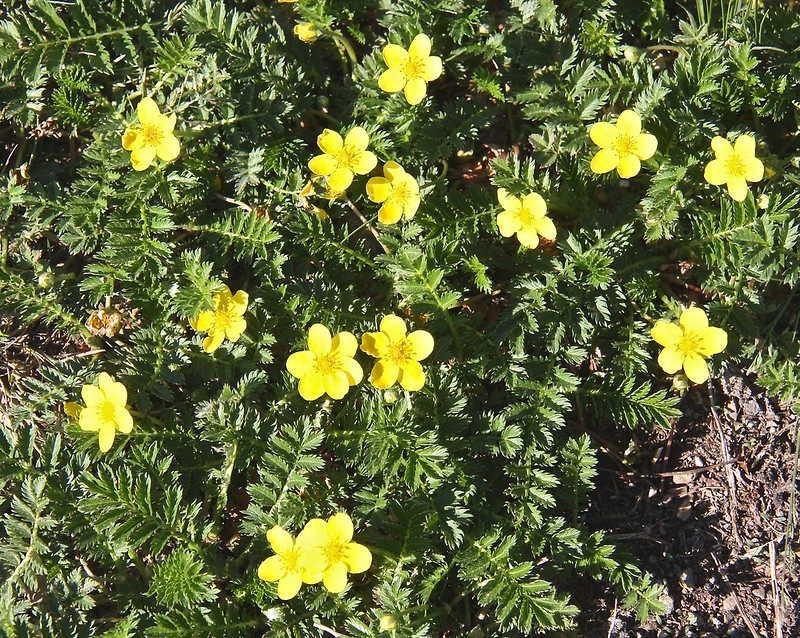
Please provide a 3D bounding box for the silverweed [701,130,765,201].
[{"bbox_3d":[1.560,-0.716,3.628,0.252,0.227,0.267,27,57,27],"label":"silverweed"}]

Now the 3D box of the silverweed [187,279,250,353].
[{"bbox_3d":[-0.844,-0.005,3.755,0.287,0.110,0.299,31,97,10],"label":"silverweed"}]

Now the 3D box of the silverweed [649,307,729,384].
[{"bbox_3d":[1.293,0.113,3.540,0.286,0.244,0.253,34,60,30],"label":"silverweed"}]

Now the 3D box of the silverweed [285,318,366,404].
[{"bbox_3d":[-0.347,0.178,3.516,0.391,0.099,0.418,1,23,1],"label":"silverweed"}]

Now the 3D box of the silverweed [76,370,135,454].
[{"bbox_3d":[-1.379,0.426,3.657,0.295,0.075,0.361,-1,88,26],"label":"silverweed"}]

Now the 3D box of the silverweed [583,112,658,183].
[{"bbox_3d":[1.044,-0.821,3.655,0.300,0.235,0.207,6,49,11],"label":"silverweed"}]

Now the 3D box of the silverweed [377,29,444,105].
[{"bbox_3d":[0.078,-1.283,3.946,0.334,0.122,0.359,17,15,1],"label":"silverweed"}]

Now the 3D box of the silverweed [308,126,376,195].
[{"bbox_3d":[-0.286,-0.793,3.832,0.323,0.205,0.220,-19,49,-11],"label":"silverweed"}]

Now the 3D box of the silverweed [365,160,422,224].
[{"bbox_3d":[-0.025,-0.588,3.809,0.260,0.285,0.223,-8,48,-1],"label":"silverweed"}]

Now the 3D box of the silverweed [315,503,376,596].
[{"bbox_3d":[-0.255,1.065,3.473,0.228,0.484,0.256,-22,49,-13],"label":"silverweed"}]

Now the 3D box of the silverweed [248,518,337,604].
[{"bbox_3d":[-0.457,1.047,3.377,0.303,0.112,0.339,-18,88,23],"label":"silverweed"}]
